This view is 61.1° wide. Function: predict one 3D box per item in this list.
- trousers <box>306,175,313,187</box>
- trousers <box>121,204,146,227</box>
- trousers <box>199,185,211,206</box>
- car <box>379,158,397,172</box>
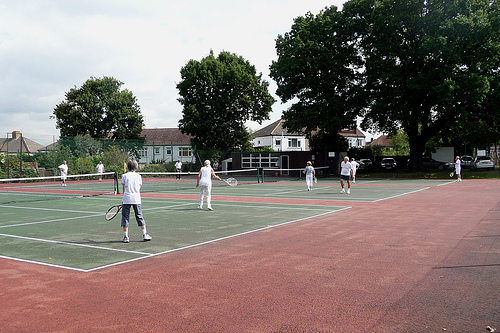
[{"bbox_3d":[3.918,0.942,27.728,0.358,0.726,0.931,-1,-1,2],"label":"trousers"},{"bbox_3d":[-3.305,1.354,12.066,0.587,1.174,0.308,1,-44,-21],"label":"trousers"},{"bbox_3d":[-1.916,1.208,18.053,0.452,0.827,0.516,-1,0,-21],"label":"trousers"},{"bbox_3d":[18.035,-0.215,54.834,2.340,1.567,1.414,-1,-1,-13],"label":"car"}]
